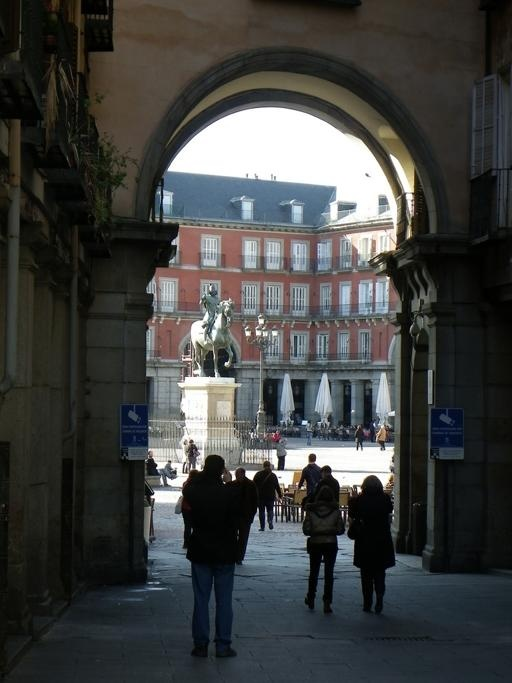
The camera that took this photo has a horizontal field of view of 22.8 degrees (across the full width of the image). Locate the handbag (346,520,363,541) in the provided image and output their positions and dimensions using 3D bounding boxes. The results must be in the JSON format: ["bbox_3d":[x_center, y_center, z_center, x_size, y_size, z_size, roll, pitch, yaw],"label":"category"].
[{"bbox_3d":[1.032,1.977,13.209,0.120,0.239,0.248,5,-46,2],"label":"handbag"}]

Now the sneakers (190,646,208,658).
[{"bbox_3d":[-0.451,2.450,10.174,0.129,0.088,0.175,0,-8,-2],"label":"sneakers"}]

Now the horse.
[{"bbox_3d":[-1.446,-0.069,40.240,0.680,2.364,3.044,-3,-2,-29],"label":"horse"}]

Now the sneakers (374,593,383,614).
[{"bbox_3d":[1.257,2.615,12.921,0.060,0.250,0.148,0,-4,-2],"label":"sneakers"}]

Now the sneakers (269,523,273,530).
[{"bbox_3d":[0.267,3.238,22.626,0.059,0.141,0.039,-3,-6,5],"label":"sneakers"}]

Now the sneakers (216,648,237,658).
[{"bbox_3d":[-0.231,2.456,10.184,0.174,0.098,0.067,-1,4,-38],"label":"sneakers"}]
